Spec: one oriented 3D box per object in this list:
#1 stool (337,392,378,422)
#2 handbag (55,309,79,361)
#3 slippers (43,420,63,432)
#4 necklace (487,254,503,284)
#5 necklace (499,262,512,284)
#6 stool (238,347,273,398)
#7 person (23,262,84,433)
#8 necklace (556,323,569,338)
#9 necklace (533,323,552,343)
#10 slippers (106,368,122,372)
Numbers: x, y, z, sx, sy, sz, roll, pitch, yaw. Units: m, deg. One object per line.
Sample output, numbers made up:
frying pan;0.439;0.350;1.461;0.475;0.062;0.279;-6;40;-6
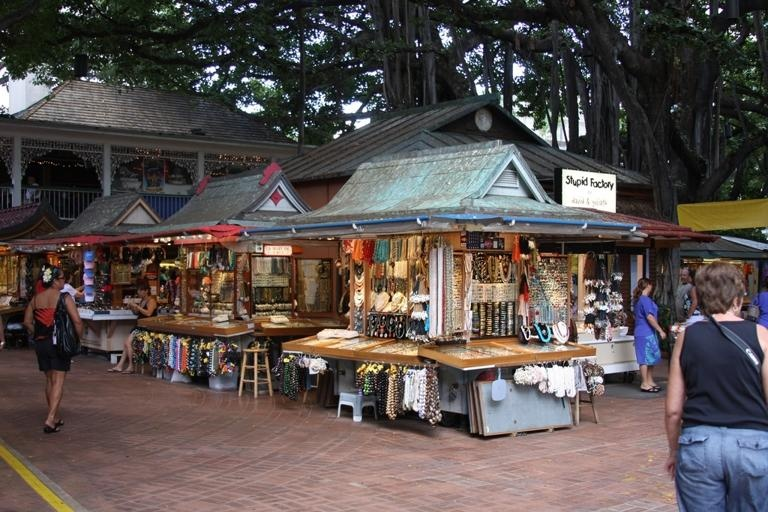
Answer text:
stool;-0.447;2.535;12.534;0.560;0.398;0.542;4;-7;-35
handbag;-4.922;1.182;11.351;0.365;0.795;0.199;-1;3;-25
slippers;-5.102;2.647;11.383;0.122;0.125;0.362;3;7;23
necklace;1.913;0.216;12.455;0.290;0.447;0.059;-2;3;-38
necklace;2.098;0.271;12.561;0.084;0.305;0.222;0;2;25
stool;-2.550;2.287;14.547;0.738;0.862;0.729;1;-3;5
person;-5.222;1.431;11.547;0.729;2.523;1.015;-1;3;-30
necklace;3.044;1.276;12.510;0.062;0.235;0.241;-31;-5;33
necklace;2.697;1.329;12.543;0.271;0.340;0.137;18;-52;-26
slippers;-6.342;2.701;17.301;0.153;0.060;0.269;-2;-6;32
